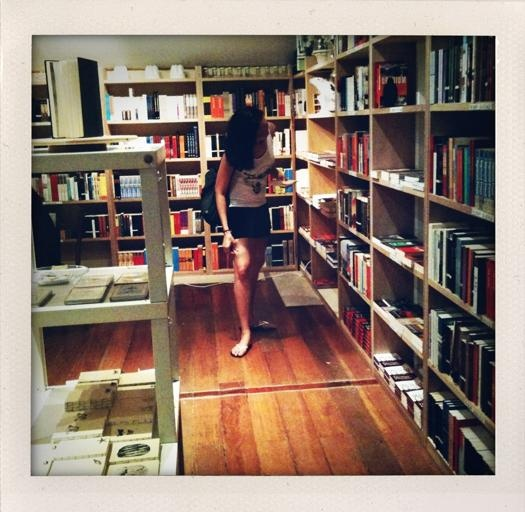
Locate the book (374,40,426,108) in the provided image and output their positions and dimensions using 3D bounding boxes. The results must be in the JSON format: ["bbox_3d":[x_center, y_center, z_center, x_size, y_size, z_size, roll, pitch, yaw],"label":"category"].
[{"bbox_3d":[0.700,-0.941,2.619,0.068,0.335,0.305,0,6,-10],"label":"book"}]

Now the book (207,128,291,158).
[{"bbox_3d":[-0.100,-0.832,3.793,0.526,0.279,0.205,-1,3,-3],"label":"book"}]

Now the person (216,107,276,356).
[{"bbox_3d":[-0.089,-0.142,3.281,0.379,1.558,0.442,5,12,31],"label":"person"}]

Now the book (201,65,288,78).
[{"bbox_3d":[-0.165,-1.807,5.047,0.859,0.131,0.233,-4,13,-5],"label":"book"}]

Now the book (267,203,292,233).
[{"bbox_3d":[0.190,-0.401,5.392,0.203,0.323,0.292,-1,3,-7],"label":"book"}]

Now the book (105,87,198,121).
[{"bbox_3d":[-1.072,-1.440,4.952,0.870,0.273,0.121,-5,11,-9],"label":"book"}]

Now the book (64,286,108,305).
[{"bbox_3d":[-0.518,0.114,1.509,0.111,0.021,0.124,-4,14,-6],"label":"book"}]

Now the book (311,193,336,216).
[{"bbox_3d":[0.511,-0.415,4.145,0.172,0.051,0.197,-5,18,-13],"label":"book"}]

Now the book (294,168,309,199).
[{"bbox_3d":[0.386,-0.701,4.973,0.154,0.344,0.319,-1,5,-3],"label":"book"}]

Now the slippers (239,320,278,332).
[{"bbox_3d":[-0.042,0.507,3.764,0.255,0.086,0.106,-1,12,1],"label":"slippers"}]

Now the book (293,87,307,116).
[{"bbox_3d":[0.364,-1.470,4.883,0.139,0.315,0.298,-1,15,-1],"label":"book"}]

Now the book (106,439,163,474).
[{"bbox_3d":[-0.395,0.623,1.579,0.164,0.078,0.080,-3,12,-4],"label":"book"}]

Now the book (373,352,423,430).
[{"bbox_3d":[0.719,0.653,2.615,0.153,0.064,0.260,0,28,-12],"label":"book"}]

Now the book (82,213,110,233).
[{"bbox_3d":[-1.646,-0.305,5.052,0.209,0.244,0.172,0,7,-5],"label":"book"}]
